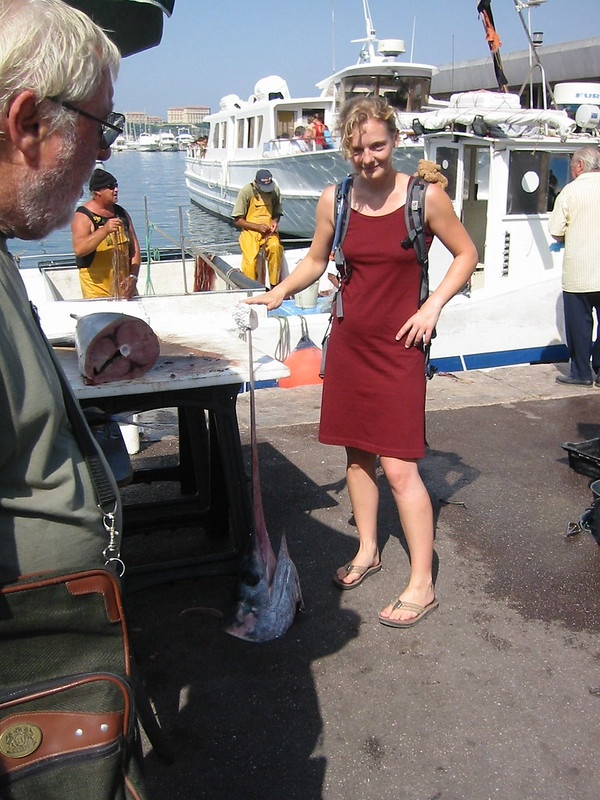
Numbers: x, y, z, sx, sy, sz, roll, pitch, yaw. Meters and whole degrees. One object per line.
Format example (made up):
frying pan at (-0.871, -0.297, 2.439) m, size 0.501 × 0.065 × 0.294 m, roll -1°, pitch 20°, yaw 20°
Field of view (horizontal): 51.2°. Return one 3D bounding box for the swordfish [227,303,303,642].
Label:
swordfish at (-0.167, 0.311, 2.406) m, size 0.388 × 1.304 × 0.181 m, roll -2°, pitch 11°, yaw 3°

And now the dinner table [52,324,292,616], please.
dinner table at (-0.412, 0.265, 2.834) m, size 1.133 × 1.029 × 1.107 m, roll -6°, pitch 18°, yaw -16°

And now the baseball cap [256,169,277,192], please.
baseball cap at (-0.446, -2.778, 7.957) m, size 0.201 × 0.288 × 0.168 m, roll -20°, pitch -16°, yaw -23°

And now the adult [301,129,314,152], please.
adult at (0.206, -6.757, 16.054) m, size 0.290 × 0.602 × 0.358 m, roll 5°, pitch -3°, yaw -24°

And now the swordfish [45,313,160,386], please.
swordfish at (-0.660, -0.194, 2.175) m, size 0.190 × 0.167 × 0.330 m, roll -20°, pitch 26°, yaw -31°

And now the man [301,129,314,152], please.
man at (0.196, -6.750, 16.054) m, size 0.290 × 0.602 × 0.358 m, roll 5°, pitch -3°, yaw -24°

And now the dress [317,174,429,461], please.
dress at (0.261, -0.260, 2.436) m, size 0.448 × 0.934 × 0.302 m, roll 1°, pitch 20°, yaw 14°
